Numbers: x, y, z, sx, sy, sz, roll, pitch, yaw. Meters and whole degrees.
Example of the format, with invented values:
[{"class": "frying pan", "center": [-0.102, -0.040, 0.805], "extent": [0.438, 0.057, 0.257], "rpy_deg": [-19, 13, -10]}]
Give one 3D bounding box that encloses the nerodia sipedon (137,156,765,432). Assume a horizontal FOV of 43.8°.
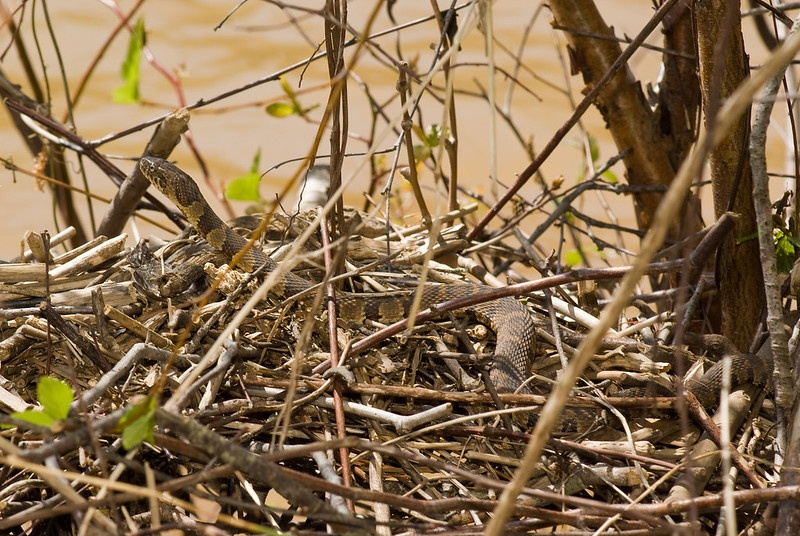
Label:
[{"class": "nerodia sipedon", "center": [0.023, -0.160, 3.665], "extent": [2.270, 0.298, 0.944], "rpy_deg": [19, 8, 24]}]
